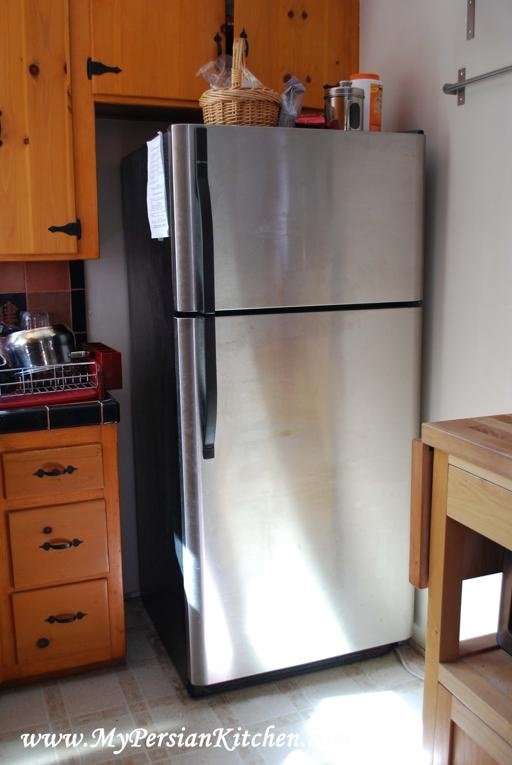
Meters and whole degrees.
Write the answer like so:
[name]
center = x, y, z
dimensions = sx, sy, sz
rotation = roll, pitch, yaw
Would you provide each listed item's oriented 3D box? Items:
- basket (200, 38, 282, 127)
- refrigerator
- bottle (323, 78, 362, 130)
[basket]
center = -0.041, -0.669, 1.553
dimensions = 0.201, 0.255, 0.234
rotation = 2, 13, 2
[refrigerator]
center = 0.079, 0.090, 1.737
dimensions = 0.816, 1.501, 0.541
rotation = -1, 4, -10
[bottle]
center = 0.234, -0.728, 1.668
dimensions = 0.101, 0.140, 0.118
rotation = -1, 12, -4
